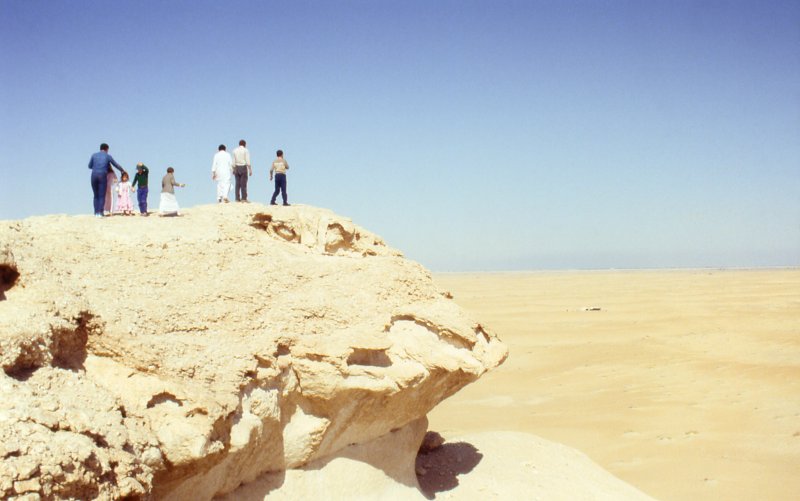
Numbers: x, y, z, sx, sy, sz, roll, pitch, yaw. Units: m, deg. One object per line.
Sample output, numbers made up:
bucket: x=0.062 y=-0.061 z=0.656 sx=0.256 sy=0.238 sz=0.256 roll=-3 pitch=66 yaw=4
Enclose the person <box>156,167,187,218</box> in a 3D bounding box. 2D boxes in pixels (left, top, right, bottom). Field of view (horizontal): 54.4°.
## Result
person: x=-7.273 y=-1.832 z=24.436 sx=0.659 sy=1.551 sz=2.178 roll=-3 pitch=4 yaw=-18
